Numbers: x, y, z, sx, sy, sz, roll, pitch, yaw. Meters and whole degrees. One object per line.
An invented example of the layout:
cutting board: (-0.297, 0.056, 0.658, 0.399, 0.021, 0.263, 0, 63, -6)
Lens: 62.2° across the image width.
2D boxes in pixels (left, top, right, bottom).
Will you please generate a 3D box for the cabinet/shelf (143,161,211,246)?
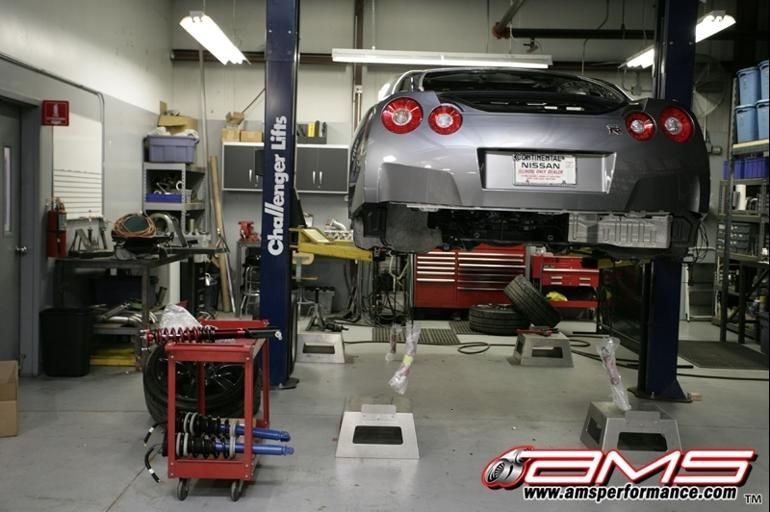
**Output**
cabinet/shelf: (-2.986, -0.769, 9.066, 0.433, 1.176, 1.307, 0, -1, 2)

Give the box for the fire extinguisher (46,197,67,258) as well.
fire extinguisher: (-3.442, -0.291, 6.702, 0.192, 0.611, 0.285, -2, 13, -13)

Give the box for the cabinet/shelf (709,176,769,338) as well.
cabinet/shelf: (4.767, 0.025, 8.550, 0.621, 2.193, 1.524, 7, 14, 27)

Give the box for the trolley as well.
trolley: (-1.383, 1.132, 5.279, 0.881, 1.673, 1.699, 0, -1, -2)

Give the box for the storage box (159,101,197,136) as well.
storage box: (-3.166, -2.207, 9.732, 0.466, 0.534, 0.716, 3, 5, -5)

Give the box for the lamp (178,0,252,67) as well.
lamp: (-2.167, -2.887, 8.351, 0.486, 0.271, 1.838, -10, -7, 4)
